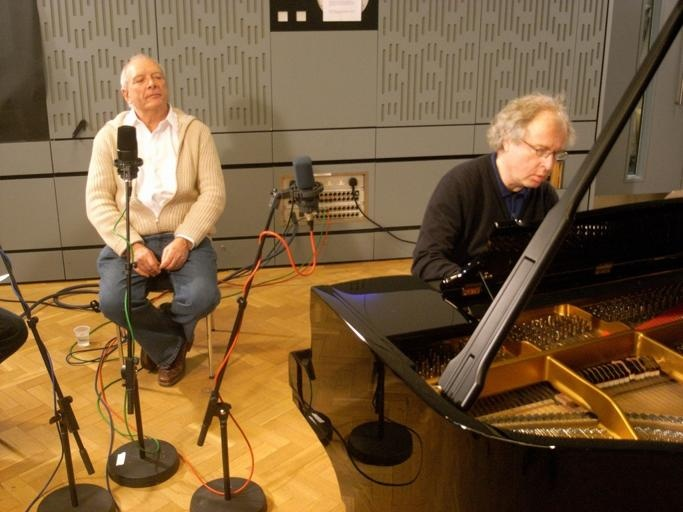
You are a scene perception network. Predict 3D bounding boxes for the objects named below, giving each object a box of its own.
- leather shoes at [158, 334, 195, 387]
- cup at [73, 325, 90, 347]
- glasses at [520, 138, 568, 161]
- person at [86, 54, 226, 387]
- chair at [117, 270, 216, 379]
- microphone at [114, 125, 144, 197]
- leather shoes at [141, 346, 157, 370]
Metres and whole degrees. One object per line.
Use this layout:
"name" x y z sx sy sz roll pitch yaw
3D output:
"leather shoes" -1.032 0.615 3.415 0.102 0.159 0.353 3 17 8
"cup" -1.759 0.505 3.747 0.109 0.132 0.115 1 9 0
"glasses" 0.988 -0.484 2.776 0.129 0.044 0.136 2 28 -30
"person" -1.145 -0.219 3.376 0.801 1.663 0.877 -3 23 -14
"chair" -0.968 0.351 3.124 0.503 0.699 0.685 -3 12 -26
"microphone" -0.910 -0.400 2.329 0.100 0.228 0.240 -6 24 -20
"leather shoes" -1.221 0.622 3.444 0.042 0.140 0.142 -18 47 8
